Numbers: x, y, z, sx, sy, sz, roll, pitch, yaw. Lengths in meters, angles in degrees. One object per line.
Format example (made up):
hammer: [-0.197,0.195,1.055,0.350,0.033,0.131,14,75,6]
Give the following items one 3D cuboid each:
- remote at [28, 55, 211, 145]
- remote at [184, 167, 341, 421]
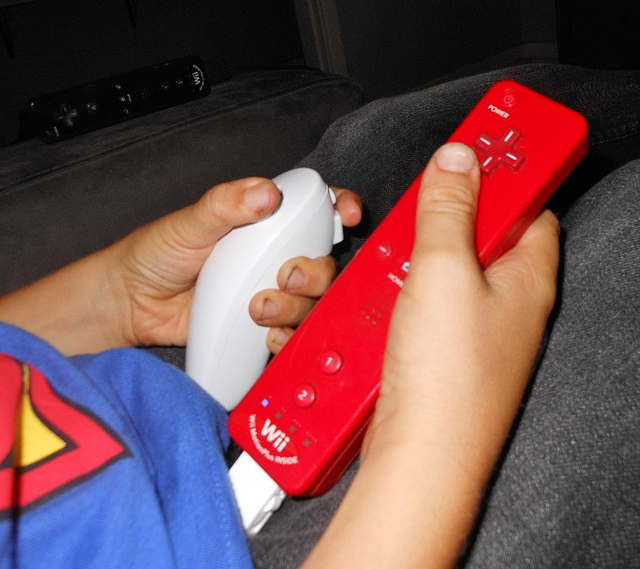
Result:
remote: [-0.214,-0.238,0.671,0.287,0.096,0.030,-25,15,-26]
remote: [-0.061,0.000,0.539,0.081,0.271,0.116,10,21,-47]
